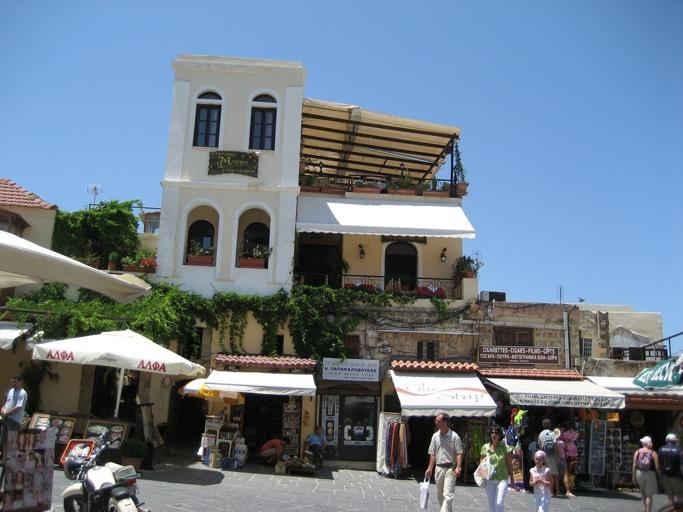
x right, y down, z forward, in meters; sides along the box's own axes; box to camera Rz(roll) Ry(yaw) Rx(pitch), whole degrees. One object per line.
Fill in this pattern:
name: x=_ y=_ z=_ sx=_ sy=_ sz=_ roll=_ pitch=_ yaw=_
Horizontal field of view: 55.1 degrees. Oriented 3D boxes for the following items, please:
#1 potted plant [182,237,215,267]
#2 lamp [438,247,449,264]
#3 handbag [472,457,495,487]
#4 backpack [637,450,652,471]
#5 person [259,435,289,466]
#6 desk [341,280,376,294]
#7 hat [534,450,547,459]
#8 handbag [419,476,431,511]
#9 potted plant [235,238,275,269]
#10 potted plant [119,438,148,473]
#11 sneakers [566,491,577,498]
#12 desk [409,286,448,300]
potted plant: x=-5.602 y=-0.090 z=25.587 sx=0.899 sy=0.917 sz=1.197 roll=7 pitch=-11 yaw=-4
lamp: x=4.271 y=-0.090 z=27.749 sx=0.260 sy=0.627 sz=0.357 roll=-4 pitch=-12 yaw=29
handbag: x=3.223 y=4.834 z=14.824 sx=0.445 sy=0.665 sz=0.345 roll=0 pitch=-11 yaw=13
backpack: x=7.964 y=5.322 z=17.178 sx=0.369 sy=0.501 sz=0.199 roll=-1 pitch=-11 yaw=16
person: x=-2.202 y=6.411 z=21.656 sx=0.794 sy=0.898 sz=1.507 roll=7 pitch=-12 yaw=-25
desk: x=0.684 y=1.239 z=25.561 sx=1.211 sy=0.481 sz=0.895 roll=2 pitch=-11 yaw=0
hat: x=4.627 y=4.614 z=15.334 sx=0.238 sy=0.184 sz=0.302 roll=1 pitch=-11 yaw=9
handbag: x=1.804 y=5.217 z=14.527 sx=0.170 sy=0.681 sz=0.623 roll=1 pitch=-11 yaw=7
potted plant: x=-3.435 y=0.019 z=25.690 sx=1.170 sy=0.888 sz=0.955 roll=2 pitch=-12 yaw=-6
potted plant: x=-5.601 y=5.345 z=17.697 sx=0.756 sy=0.851 sz=0.796 roll=2 pitch=-5 yaw=7
sneakers: x=6.951 y=7.238 z=19.947 sx=0.116 sy=0.218 sz=0.311 roll=3 pitch=-22 yaw=-17
desk: x=3.420 y=1.442 z=25.775 sx=1.363 sy=0.560 sz=0.900 roll=1 pitch=-11 yaw=7
